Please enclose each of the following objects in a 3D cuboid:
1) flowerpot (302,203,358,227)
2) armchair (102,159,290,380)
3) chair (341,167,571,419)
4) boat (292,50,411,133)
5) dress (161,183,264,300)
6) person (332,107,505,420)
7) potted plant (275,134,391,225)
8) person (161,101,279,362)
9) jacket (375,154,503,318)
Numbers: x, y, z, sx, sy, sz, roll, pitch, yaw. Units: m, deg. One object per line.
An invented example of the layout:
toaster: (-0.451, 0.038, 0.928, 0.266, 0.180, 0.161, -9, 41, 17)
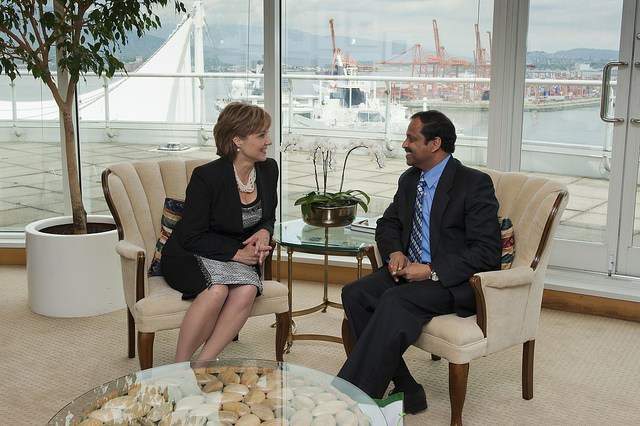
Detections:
flowerpot: (0.051, -0.020, 2.868, 0.319, 0.123, 0.323, -4, 14, -19)
armchair: (-0.801, 0.348, 2.758, 1.043, 1.240, 1.156, 6, 7, 27)
chair: (0.843, 0.339, 2.934, 1.374, 1.453, 1.222, -4, 6, -38)
boat: (0.538, -0.998, 3.869, 1.424, 0.831, 0.478, 6, 12, 18)
dress: (-0.608, 0.100, 2.520, 0.831, 0.640, 0.428, -4, 12, -24)
person: (0.392, 0.228, 3.229, 1.606, 2.132, 1.077, 0, 1, -35)
potted plant: (0.024, -0.231, 2.883, 0.794, 0.494, 0.489, 13, 7, -7)
person: (-0.514, 0.052, 2.465, 0.747, 1.312, 0.598, -7, 16, -21)
jacket: (0.642, 0.146, 2.344, 0.521, 0.829, 0.761, -8, 11, -41)
